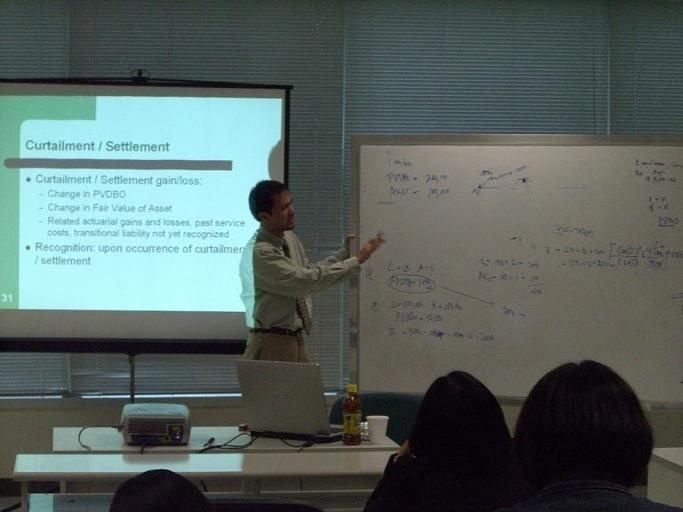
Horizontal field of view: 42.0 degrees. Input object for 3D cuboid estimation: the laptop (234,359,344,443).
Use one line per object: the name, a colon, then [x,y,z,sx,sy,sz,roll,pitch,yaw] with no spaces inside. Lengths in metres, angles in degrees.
laptop: [-0.294,0.720,4.550,0.458,0.362,0.392,-1,2,22]

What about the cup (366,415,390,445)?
cup: [0.179,0.888,4.571,0.121,0.124,0.123,1,-8,0]

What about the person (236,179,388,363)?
person: [-0.154,0.440,5.663,0.911,1.783,0.636,-4,16,-5]

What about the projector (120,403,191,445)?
projector: [-0.934,0.851,4.519,0.270,0.107,0.201,2,-2,-7]
